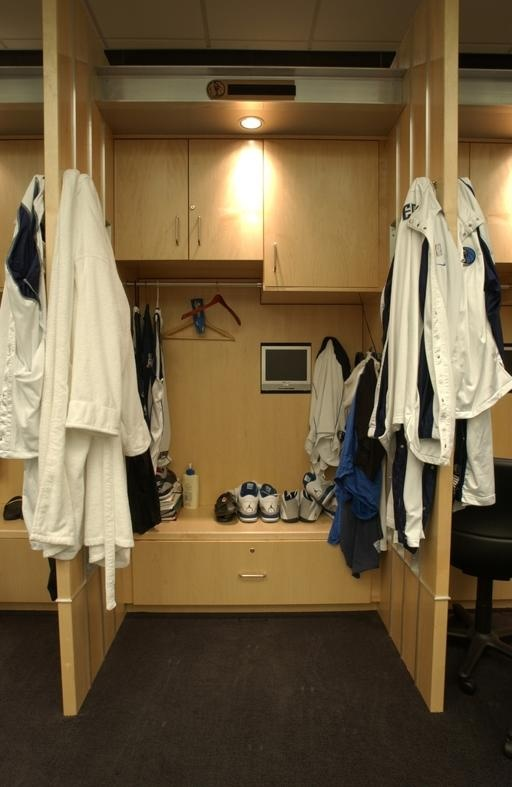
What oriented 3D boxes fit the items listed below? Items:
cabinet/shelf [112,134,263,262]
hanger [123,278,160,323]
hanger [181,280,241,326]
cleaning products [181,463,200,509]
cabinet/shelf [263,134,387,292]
[{"bbox_3d":[-0.332,-0.884,2.747,0.372,0.513,0.195,0,0,0],"label":"cabinet/shelf"},{"bbox_3d":[-0.551,-0.446,2.938,0.179,0.333,0.034,-1,7,-6],"label":"hanger"},{"bbox_3d":[-0.225,-0.425,3.131,0.310,0.176,0.125,-3,8,-16],"label":"hanger"},{"bbox_3d":[-0.334,0.479,3.088,0.080,0.201,0.073,0,6,4],"label":"cleaning products"},{"bbox_3d":[0.297,-0.742,3.028,0.544,1.200,0.499,0,0,-1],"label":"cabinet/shelf"}]
